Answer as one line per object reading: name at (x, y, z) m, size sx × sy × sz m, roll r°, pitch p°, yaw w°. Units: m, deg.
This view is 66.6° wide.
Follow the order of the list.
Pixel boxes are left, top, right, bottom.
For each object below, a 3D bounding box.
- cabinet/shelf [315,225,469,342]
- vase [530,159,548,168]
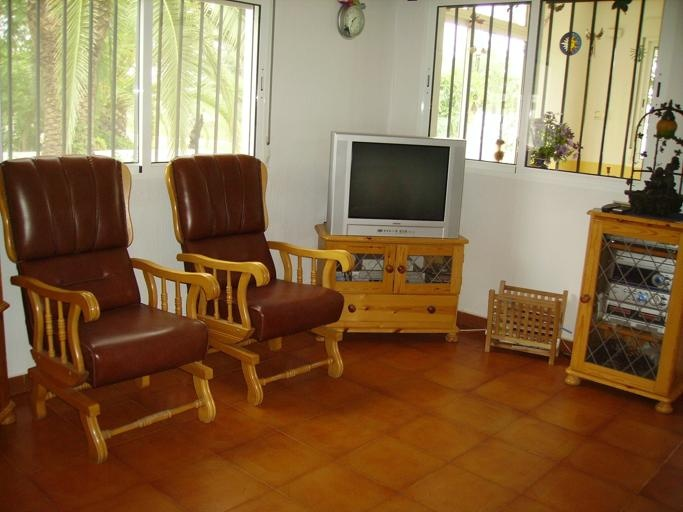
cabinet/shelf at (0.351, -0.021, 4.010) m, size 1.198 × 0.992 × 0.730 m, roll 0°, pitch 10°, yaw -9°
vase at (1.493, -0.694, 3.913) m, size 0.076 × 0.056 × 0.077 m, roll 8°, pitch 14°, yaw 22°
